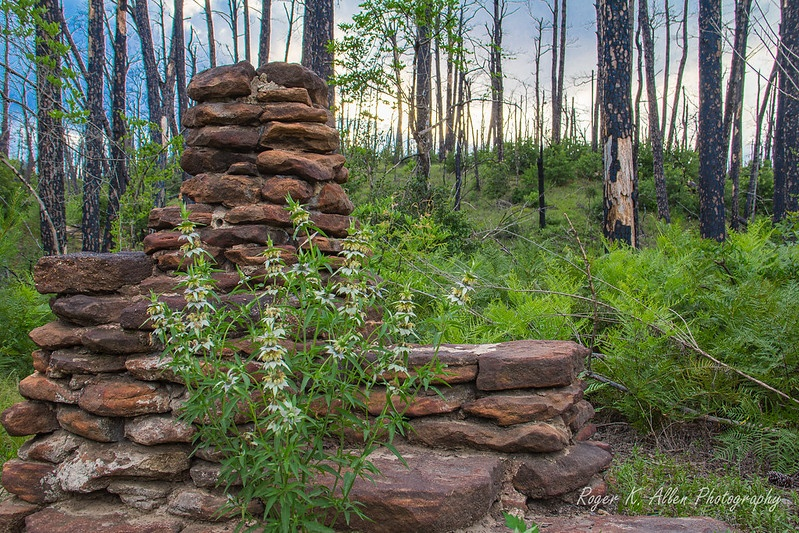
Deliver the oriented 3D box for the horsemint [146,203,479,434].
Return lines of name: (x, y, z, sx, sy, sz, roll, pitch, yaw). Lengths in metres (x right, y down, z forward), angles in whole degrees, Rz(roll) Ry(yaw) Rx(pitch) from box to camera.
horsemint: (-1.091, 0.543, 6.557, 2.600, 2.444, 1.405, 0, 8, -1)
